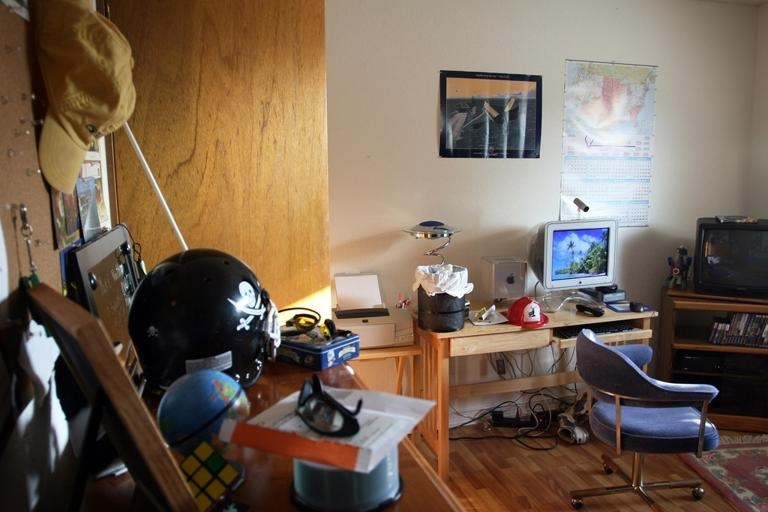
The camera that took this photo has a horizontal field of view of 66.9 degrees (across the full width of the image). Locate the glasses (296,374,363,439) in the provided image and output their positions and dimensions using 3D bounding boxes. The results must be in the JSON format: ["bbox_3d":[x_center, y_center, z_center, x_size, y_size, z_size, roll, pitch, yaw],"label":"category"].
[{"bbox_3d":[-0.150,0.421,1.608,0.159,0.083,0.116,39,35,23],"label":"glasses"}]

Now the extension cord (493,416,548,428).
[{"bbox_3d":[0.909,1.119,3.900,0.267,0.041,0.137,0,5,-6],"label":"extension cord"}]

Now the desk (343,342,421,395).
[{"bbox_3d":[-0.016,0.715,3.541,0.428,0.418,0.432,0,0,-6],"label":"desk"}]

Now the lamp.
[{"bbox_3d":[0.338,0.017,3.490,0.445,0.609,0.463,1,4,34],"label":"lamp"}]

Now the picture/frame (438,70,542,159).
[{"bbox_3d":[0.651,-0.955,3.779,0.592,0.450,0.024,-1,3,-13],"label":"picture/frame"}]

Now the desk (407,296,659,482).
[{"bbox_3d":[0.943,0.692,3.805,1.491,0.930,0.588,-5,29,-13],"label":"desk"}]

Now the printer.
[{"bbox_3d":[-0.066,0.321,3.402,0.407,0.329,0.438,-2,9,-11],"label":"printer"}]

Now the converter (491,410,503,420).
[{"bbox_3d":[0.753,1.067,3.896,0.053,0.013,0.050,5,44,17],"label":"converter"}]

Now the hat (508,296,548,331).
[{"bbox_3d":[0.852,0.330,3.465,0.254,0.175,0.193,-2,13,-4],"label":"hat"}]

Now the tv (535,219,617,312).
[{"bbox_3d":[1.241,0.051,3.771,0.537,0.571,0.306,-3,6,-17],"label":"tv"}]

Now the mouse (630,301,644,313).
[{"bbox_3d":[1.571,0.309,3.645,0.064,0.051,0.073,3,6,25],"label":"mouse"}]

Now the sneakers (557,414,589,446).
[{"bbox_3d":[1.201,1.128,3.737,0.148,0.127,0.217,41,-5,-30],"label":"sneakers"}]

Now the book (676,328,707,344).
[{"bbox_3d":[2.094,0.548,3.977,0.124,0.030,0.117,0,11,10],"label":"book"}]

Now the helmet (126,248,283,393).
[{"bbox_3d":[-0.548,0.206,1.963,0.369,0.395,0.479,9,19,38],"label":"helmet"}]
